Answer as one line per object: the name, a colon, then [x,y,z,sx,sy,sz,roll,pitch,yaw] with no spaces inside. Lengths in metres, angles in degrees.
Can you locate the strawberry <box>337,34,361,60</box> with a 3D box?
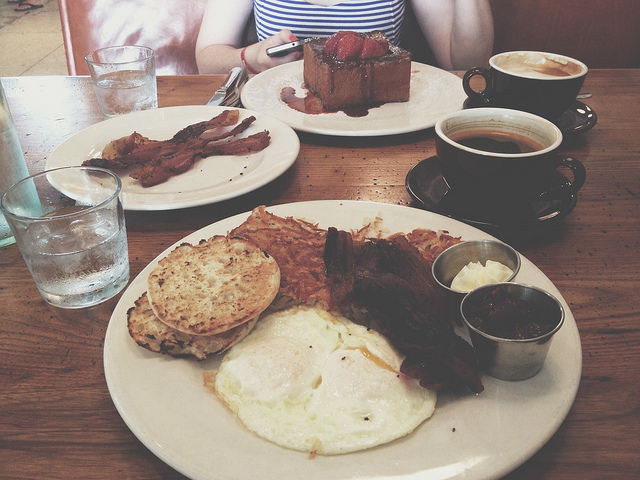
strawberry: [0.097,-0.632,1.900,0.076,0.039,0.116,2,44,4]

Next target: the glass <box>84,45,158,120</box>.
glass: [-0.656,-0.487,1.936,0.237,0.237,0.269,-13,10,-29]

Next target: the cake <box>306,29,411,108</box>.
cake: [0.129,-0.603,1.843,0.289,0.198,0.283,-7,31,-13]

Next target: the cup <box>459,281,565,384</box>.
cup: [0.339,0.148,1.036,0.167,0.114,0.167,-8,35,6]

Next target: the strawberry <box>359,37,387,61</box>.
strawberry: [0.176,-0.624,1.896,0.085,0.037,0.106,14,46,16]

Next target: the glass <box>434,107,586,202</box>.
glass: [0.440,-0.232,1.404,0.291,0.138,0.238,2,1,-34]

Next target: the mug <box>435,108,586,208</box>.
mug: [0.401,-0.180,1.298,0.297,0.145,0.234,20,41,31]
